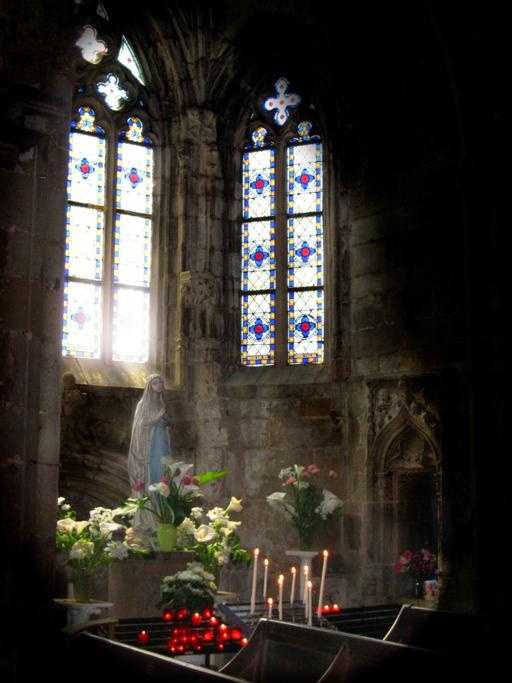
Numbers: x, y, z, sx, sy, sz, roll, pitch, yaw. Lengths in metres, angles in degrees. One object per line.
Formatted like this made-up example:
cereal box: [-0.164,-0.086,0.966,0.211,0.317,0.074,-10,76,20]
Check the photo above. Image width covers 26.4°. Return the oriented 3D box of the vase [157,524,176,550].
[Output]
vase: [-0.786,1.735,9.661,0.173,0.233,0.233,1,-7,-5]

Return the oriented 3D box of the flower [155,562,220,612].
flower: [-0.507,1.794,7.982,0.204,0.235,0.246,-13,14,-16]

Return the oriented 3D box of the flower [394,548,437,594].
flower: [1.691,2.458,11.613,0.441,0.492,0.507,0,-7,7]

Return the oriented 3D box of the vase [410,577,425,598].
vase: [1.688,2.599,11.513,0.105,0.199,0.214,6,-9,-33]

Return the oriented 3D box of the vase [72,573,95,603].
vase: [-1.257,1.785,7.916,0.119,0.183,0.437,3,-7,-13]

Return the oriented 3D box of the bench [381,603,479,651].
bench: [1.137,1.786,6.737,0.401,0.199,0.520,6,-5,-39]

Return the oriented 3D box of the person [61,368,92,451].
person: [-2.092,0.820,12.522,0.229,0.881,0.427,-2,-8,20]

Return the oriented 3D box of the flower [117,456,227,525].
flower: [-0.815,1.438,9.856,0.988,0.583,0.912,-13,-13,15]

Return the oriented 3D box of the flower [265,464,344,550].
flower: [0.525,1.795,11.864,0.730,0.742,0.721,-13,-15,41]
